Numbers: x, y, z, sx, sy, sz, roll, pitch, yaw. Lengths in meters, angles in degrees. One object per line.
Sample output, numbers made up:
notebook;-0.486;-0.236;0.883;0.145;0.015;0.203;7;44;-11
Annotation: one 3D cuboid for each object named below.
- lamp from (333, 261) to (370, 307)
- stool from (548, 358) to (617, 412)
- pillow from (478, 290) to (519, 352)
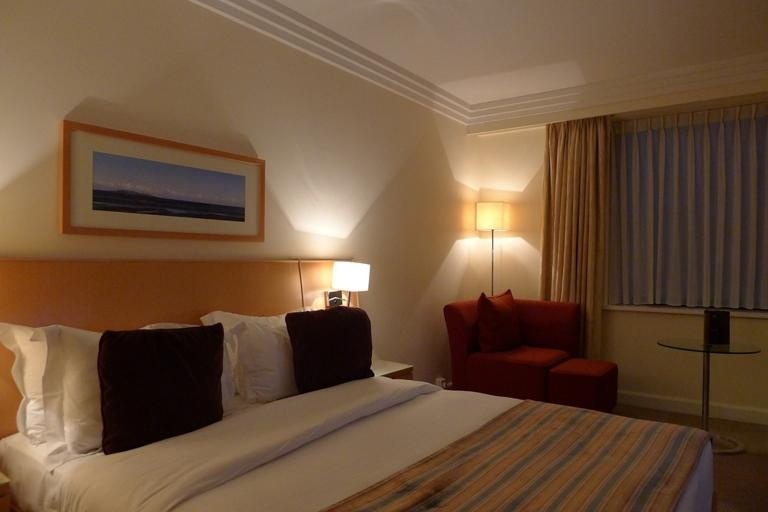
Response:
lamp;-0.301;0.302;4.791;0.317;0.527;0.324;8;11;3
stool;1.790;1.183;5.049;0.463;0.398;0.456;1;7;31
pillow;1.188;0.670;5.579;0.620;0.626;0.239;2;-5;-44
